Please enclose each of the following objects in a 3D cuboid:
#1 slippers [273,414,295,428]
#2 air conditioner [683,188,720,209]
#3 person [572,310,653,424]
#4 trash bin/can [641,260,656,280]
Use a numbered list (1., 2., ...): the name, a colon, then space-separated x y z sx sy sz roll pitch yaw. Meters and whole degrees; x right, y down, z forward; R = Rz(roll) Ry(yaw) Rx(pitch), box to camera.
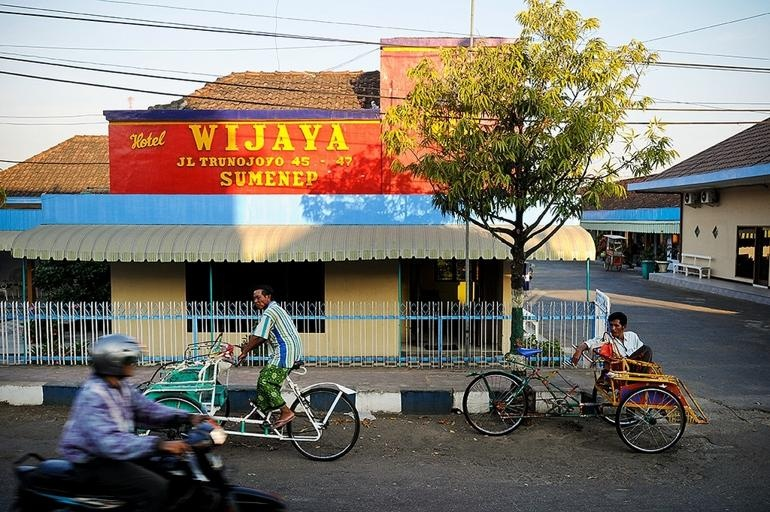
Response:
1. slippers: -1.876 2.895 15.120 0.456 0.197 0.159 -27 -5 28
2. air conditioner: 12.748 -2.371 34.137 0.508 0.795 1.918 0 -5 -7
3. person: 4.346 1.782 16.004 1.574 1.398 0.902 3 4 10
4. trash bin/can: 11.728 0.556 37.770 0.573 0.901 1.333 -2 -5 17
